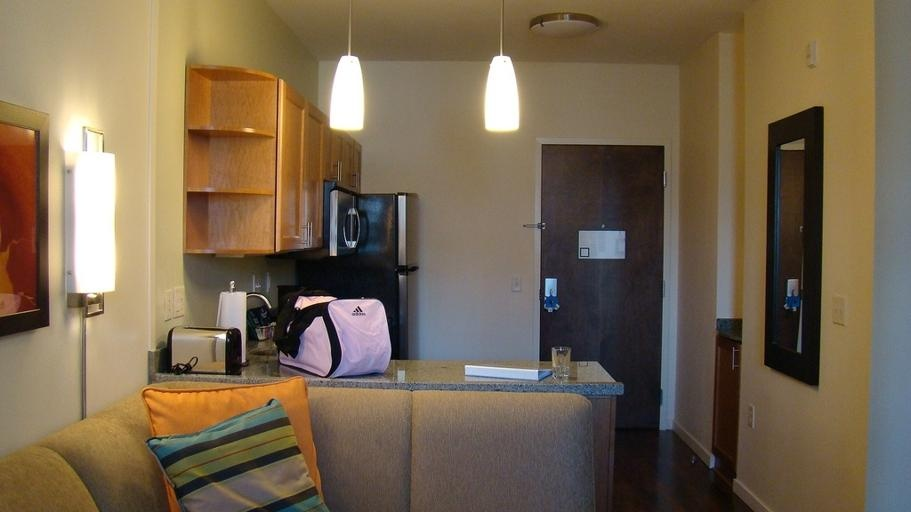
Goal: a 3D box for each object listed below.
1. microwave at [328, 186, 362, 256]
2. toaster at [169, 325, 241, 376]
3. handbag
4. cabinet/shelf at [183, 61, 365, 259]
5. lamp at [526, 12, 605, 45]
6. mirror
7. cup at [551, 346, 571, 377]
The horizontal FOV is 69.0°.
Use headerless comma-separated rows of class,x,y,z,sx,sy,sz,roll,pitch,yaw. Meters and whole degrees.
microwave,-0.918,-0.271,5.406,0.335,0.495,0.602,0,0,5
toaster,-1.632,0.582,4.296,0.455,0.285,0.229,2,11,3
handbag,-0.762,0.461,4.201,0.568,0.376,0.552,5,-5,-38
cabinet/shelf,-1.275,-0.646,4.820,0.543,1.267,1.366,1,2,32
lamp,0.892,-1.870,5.394,0.602,0.120,0.304,0,1,6
mirror,2.302,-0.071,4.528,0.101,1.815,0.463,-1,2,-18
cup,0.674,0.659,4.233,0.115,0.183,0.239,0,1,9
